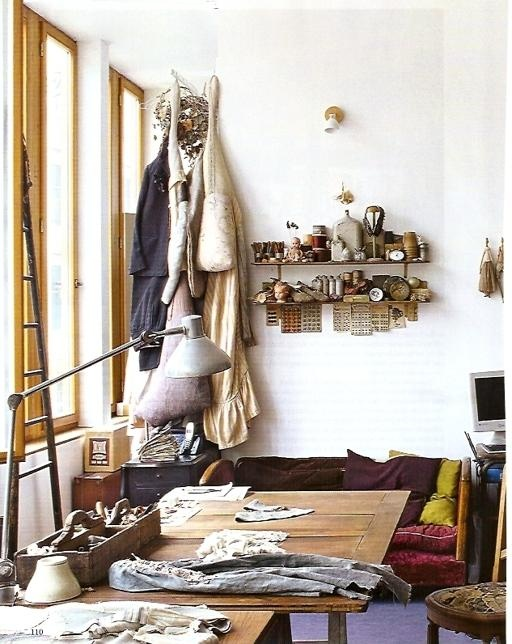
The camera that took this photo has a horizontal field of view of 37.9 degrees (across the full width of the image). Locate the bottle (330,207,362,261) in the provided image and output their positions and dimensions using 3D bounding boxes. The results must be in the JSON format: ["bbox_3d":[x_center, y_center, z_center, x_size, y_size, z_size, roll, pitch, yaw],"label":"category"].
[{"bbox_3d":[0.554,-0.523,4.513,0.192,0.333,0.171,2,-4,6],"label":"bottle"}]

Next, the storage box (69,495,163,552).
[{"bbox_3d":[-0.462,0.645,2.423,0.169,0.097,0.283,1,3,9],"label":"storage box"}]

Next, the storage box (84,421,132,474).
[{"bbox_3d":[-0.935,0.825,4.888,0.218,0.244,0.387,-2,-6,15],"label":"storage box"}]

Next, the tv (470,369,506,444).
[{"bbox_3d":[1.294,0.438,4.170,0.181,0.331,0.100,2,-4,11],"label":"tv"}]

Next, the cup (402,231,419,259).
[{"bbox_3d":[0.927,-0.451,4.457,0.099,0.172,0.128,2,-4,9],"label":"cup"}]

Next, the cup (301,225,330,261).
[{"bbox_3d":[0.352,-0.477,4.520,0.158,0.235,0.120,2,-4,12],"label":"cup"}]

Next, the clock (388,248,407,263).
[{"bbox_3d":[0.842,-0.394,4.421,0.098,0.085,0.024,1,-3,6],"label":"clock"}]

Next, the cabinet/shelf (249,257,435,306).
[{"bbox_3d":[0.528,-0.237,4.545,1.088,0.272,0.219,2,-3,4],"label":"cabinet/shelf"}]

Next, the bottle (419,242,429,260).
[{"bbox_3d":[1.007,-0.423,4.454,0.057,0.129,0.143,2,-3,13],"label":"bottle"}]
